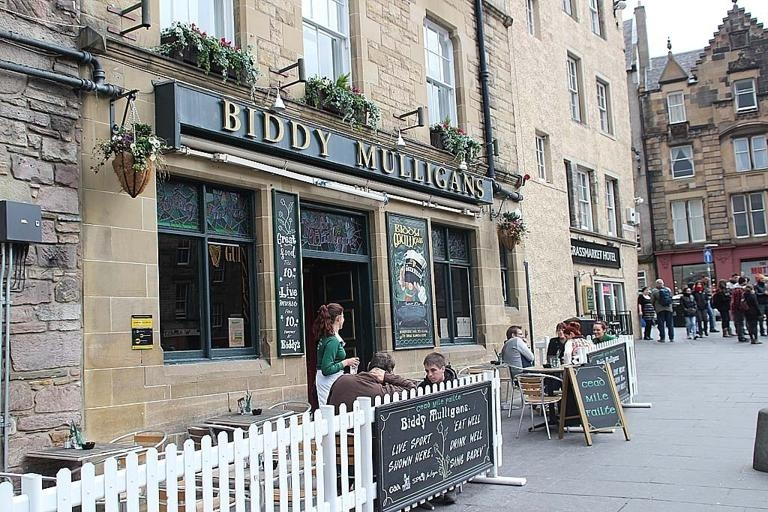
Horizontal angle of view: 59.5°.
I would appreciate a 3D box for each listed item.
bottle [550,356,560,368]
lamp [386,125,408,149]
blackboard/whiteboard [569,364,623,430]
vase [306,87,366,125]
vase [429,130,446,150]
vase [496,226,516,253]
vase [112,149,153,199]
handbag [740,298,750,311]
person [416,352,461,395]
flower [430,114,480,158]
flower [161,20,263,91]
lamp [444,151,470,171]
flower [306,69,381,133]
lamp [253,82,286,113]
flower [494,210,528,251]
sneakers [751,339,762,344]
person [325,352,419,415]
[{"bbox_3d":[3.180,2.002,12.531,0.170,0.178,0.180,1,-5,-10],"label":"bottle"},{"bbox_3d":[0.236,-2.436,13.675,0.515,0.435,0.608,3,18,-5],"label":"lamp"},{"bbox_3d":[3.586,2.423,11.408,0.742,1.107,0.673,-8,-12,2],"label":"blackboard/whiteboard"},{"bbox_3d":[-0.865,-2.972,12.715,0.592,0.335,0.923,36,18,16],"label":"vase"},{"bbox_3d":[1.174,-2.582,15.094,0.379,0.402,0.383,0,-3,-13],"label":"vase"},{"bbox_3d":[2.941,-0.379,16.381,0.502,0.575,0.479,4,-18,-4],"label":"vase"},{"bbox_3d":[-3.537,-1.087,9.496,0.565,0.577,0.604,1,-13,-38],"label":"vase"},{"bbox_3d":[11.564,1.595,21.547,0.077,0.297,0.285,2,-8,-7],"label":"handbag"},{"bbox_3d":[0.787,1.675,9.680,0.732,0.570,0.517,0,6,45],"label":"person"},{"bbox_3d":[1.599,-2.649,15.282,0.484,0.914,1.373,-12,-10,39],"label":"flower"},{"bbox_3d":[-2.999,-3.237,10.896,0.809,0.607,1.670,-13,-6,25],"label":"flower"},{"bbox_3d":[1.613,-2.147,15.176,0.428,0.164,0.446,-2,-3,25],"label":"lamp"},{"bbox_3d":[-0.830,-2.995,12.808,0.622,0.561,1.247,-1,20,-45],"label":"flower"},{"bbox_3d":[-1.860,-2.673,11.440,0.297,0.526,0.700,1,6,36],"label":"lamp"},{"bbox_3d":[3.090,-0.636,16.628,0.840,0.949,0.874,-4,-8,17],"label":"flower"},{"bbox_3d":[11.738,2.721,21.185,0.278,0.147,0.536,-10,-9,28],"label":"sneakers"},{"bbox_3d":[-0.174,1.576,8.441,1.073,0.667,0.649,0,-10,-33],"label":"person"}]
